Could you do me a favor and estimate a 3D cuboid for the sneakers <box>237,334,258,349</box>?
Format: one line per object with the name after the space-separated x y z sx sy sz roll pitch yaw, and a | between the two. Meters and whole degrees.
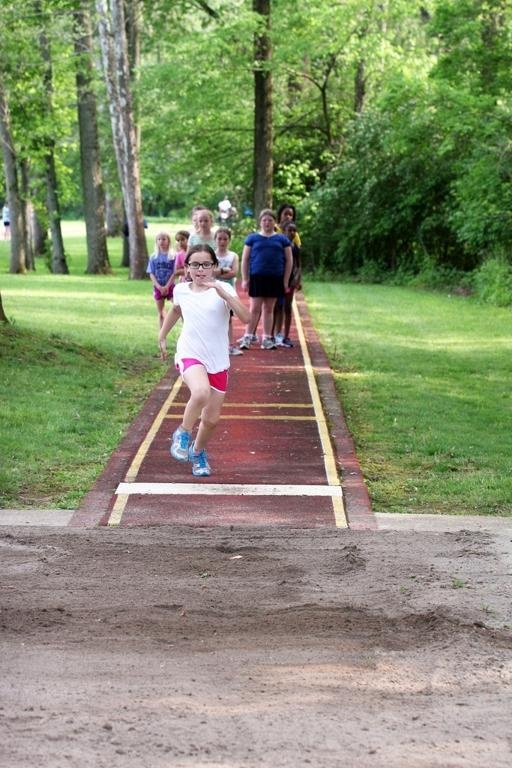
-0.120 -0.584 13.736 0.147 0.139 0.342 3 -2 5 | sneakers

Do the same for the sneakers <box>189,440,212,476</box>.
-0.423 0.562 7.709 0.121 0.135 0.299 -8 49 -19 | sneakers

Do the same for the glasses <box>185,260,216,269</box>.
-0.382 -0.843 6.978 0.213 0.072 0.131 0 12 -8 | glasses

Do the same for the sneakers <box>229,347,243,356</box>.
-0.266 -0.438 13.015 0.079 0.082 0.202 -3 -2 -25 | sneakers

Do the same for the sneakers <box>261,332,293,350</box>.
0.286 -0.579 13.703 0.468 0.190 0.173 2 11 10 | sneakers

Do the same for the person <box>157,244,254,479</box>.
-0.366 -0.125 7.266 0.529 1.803 1.054 0 13 -7 | person

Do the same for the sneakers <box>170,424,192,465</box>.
-0.548 0.453 7.604 0.120 0.148 0.310 21 36 -36 | sneakers
